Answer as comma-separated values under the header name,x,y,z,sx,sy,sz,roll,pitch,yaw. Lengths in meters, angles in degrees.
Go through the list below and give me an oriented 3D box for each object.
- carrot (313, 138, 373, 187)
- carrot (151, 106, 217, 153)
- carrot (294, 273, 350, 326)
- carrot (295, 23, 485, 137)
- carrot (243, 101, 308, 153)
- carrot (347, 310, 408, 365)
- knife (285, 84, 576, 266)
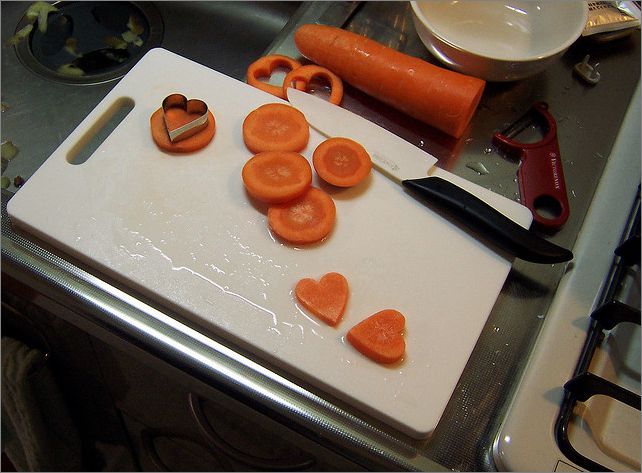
name,x,y,z,sx,sy,sz,roll,pitch,yaw
carrot,0.039,-0.124,0.988,0.116,0.125,0.050,0,68,14
carrot,-0.245,-0.208,0.978,0.099,0.020,0.101,-49,39,12
carrot,0.006,0.091,0.885,0.091,0.013,0.081,32,73,5
carrot,0.118,-0.318,1.139,0.446,0.145,0.169,32,107,34
carrot,-0.080,-0.207,1.000,0.123,0.128,0.033,-1,76,-31
carrot,0.095,0.166,0.862,0.098,0.019,0.085,-22,76,-12
knife,0.190,-0.100,0.981,0.488,0.038,0.071,37,61,14
